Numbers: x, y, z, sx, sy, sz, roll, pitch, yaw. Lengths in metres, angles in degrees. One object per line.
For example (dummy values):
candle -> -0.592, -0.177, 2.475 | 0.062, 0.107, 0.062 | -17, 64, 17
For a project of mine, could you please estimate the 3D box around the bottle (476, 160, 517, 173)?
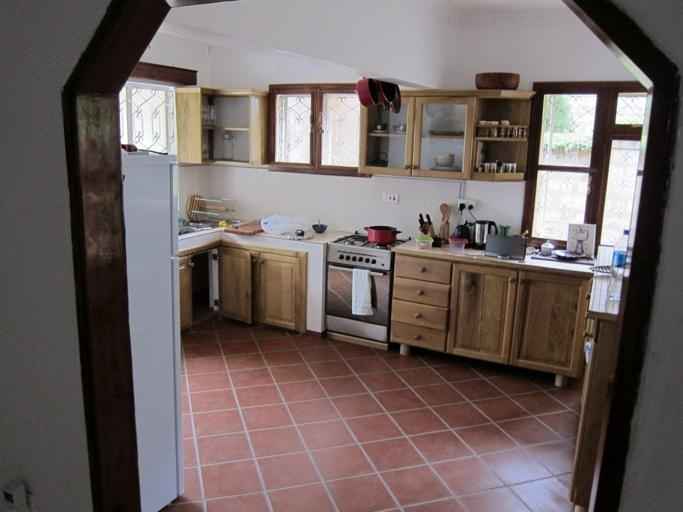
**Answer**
bottle -> 1.396, -0.802, 4.650 | 0.337, 0.104, 0.295 | 6, 12, 20

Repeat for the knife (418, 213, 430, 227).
knife -> 0.804, -0.353, 4.955 | 0.120, 0.100, 0.158 | 3, 11, 9

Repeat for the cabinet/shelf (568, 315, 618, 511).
cabinet/shelf -> 1.316, 0.853, 2.726 | 0.111, 1.095, 0.302 | 7, 12, 25

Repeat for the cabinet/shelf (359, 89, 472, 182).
cabinet/shelf -> 0.697, -1.121, 4.663 | 0.791, 0.594, 0.307 | 6, 15, 21

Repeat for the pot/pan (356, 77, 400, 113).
pot/pan -> 0.326, -1.322, 4.233 | 0.215, 0.240, 0.452 | 8, 12, 29

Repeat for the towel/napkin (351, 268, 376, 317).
towel/napkin -> 0.201, 0.324, 4.685 | 0.224, 0.417, 0.066 | 2, 11, 3

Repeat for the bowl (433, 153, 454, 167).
bowl -> 0.923, -0.864, 4.666 | 0.133, 0.090, 0.113 | 1, 10, 36

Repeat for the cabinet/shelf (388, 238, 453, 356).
cabinet/shelf -> 0.789, 0.390, 4.778 | 0.517, 0.961, 0.609 | 9, 19, 21

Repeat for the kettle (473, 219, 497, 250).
kettle -> 1.283, -0.205, 4.673 | 0.288, 0.290, 0.177 | 0, 7, -10

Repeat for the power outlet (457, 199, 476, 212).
power outlet -> 1.196, -0.496, 4.879 | 0.168, 0.118, 0.097 | 3, 5, 22

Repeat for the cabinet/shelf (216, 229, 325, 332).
cabinet/shelf -> -0.953, 0.356, 5.449 | 0.609, 0.926, 1.115 | -3, -9, 24

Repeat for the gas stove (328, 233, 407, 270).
gas stove -> 0.195, -0.033, 4.767 | 0.416, 0.180, 0.405 | 6, 13, 27

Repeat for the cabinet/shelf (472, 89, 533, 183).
cabinet/shelf -> 1.428, -1.068, 4.628 | 0.534, 0.773, 0.405 | 6, 23, 22

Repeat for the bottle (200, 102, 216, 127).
bottle -> -1.394, -1.492, 5.405 | 0.207, 0.312, 0.204 | 1, 12, 0

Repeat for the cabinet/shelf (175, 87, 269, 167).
cabinet/shelf -> -1.236, -1.332, 5.407 | 0.913, 0.726, 0.507 | -1, 11, -3

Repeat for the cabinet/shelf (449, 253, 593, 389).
cabinet/shelf -> 1.517, 0.559, 4.420 | 1.065, 0.876, 0.525 | 6, 2, 31

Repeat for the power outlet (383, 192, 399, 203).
power outlet -> 0.494, -0.578, 5.103 | 0.140, 0.092, 0.034 | 4, 4, 20
